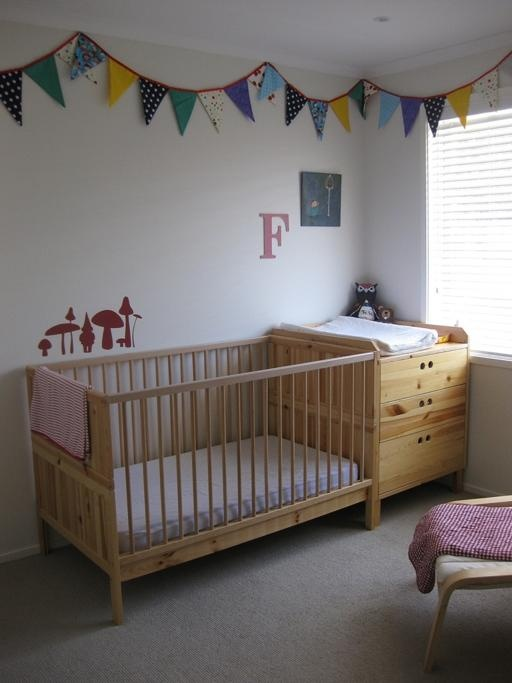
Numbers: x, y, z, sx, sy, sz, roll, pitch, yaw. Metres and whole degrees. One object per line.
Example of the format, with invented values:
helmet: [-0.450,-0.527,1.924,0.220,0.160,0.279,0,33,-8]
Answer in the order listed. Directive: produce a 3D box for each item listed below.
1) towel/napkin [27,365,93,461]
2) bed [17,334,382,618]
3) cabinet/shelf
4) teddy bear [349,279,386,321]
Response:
towel/napkin: [-0.698,0.265,2.033,0.046,0.252,0.320,-9,15,-39]
bed: [-0.200,0.455,2.545,1.339,0.910,0.801,-5,6,-40]
cabinet/shelf: [0.680,0.367,3.052,0.733,0.858,0.616,-5,10,-37]
teddy bear: [0.667,-0.242,3.462,0.208,0.228,0.120,2,-15,15]
